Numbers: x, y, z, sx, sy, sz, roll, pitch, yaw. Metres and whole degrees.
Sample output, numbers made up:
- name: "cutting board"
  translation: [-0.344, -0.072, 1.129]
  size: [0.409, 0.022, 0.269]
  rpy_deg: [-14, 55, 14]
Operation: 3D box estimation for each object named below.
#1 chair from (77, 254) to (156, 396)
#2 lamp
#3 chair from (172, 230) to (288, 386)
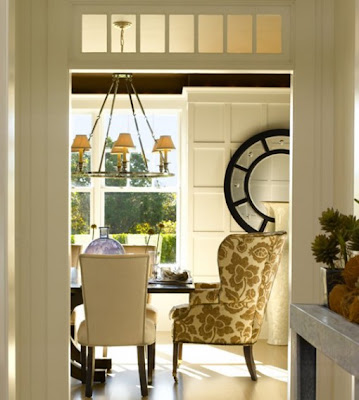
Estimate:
- name: "chair"
  translation: [-0.380, 0.747, 3.399]
  size: [0.472, 0.901, 0.543]
  rpy_deg: [0, 1, -9]
- name: "lamp"
  translation: [-0.420, -0.774, 4.073]
  size: [0.660, 1.243, 0.734]
  rpy_deg: [0, 2, 25]
- name: "chair"
  translation: [0.356, 0.665, 3.927]
  size: [0.667, 1.116, 0.913]
  rpy_deg: [1, -9, 8]
